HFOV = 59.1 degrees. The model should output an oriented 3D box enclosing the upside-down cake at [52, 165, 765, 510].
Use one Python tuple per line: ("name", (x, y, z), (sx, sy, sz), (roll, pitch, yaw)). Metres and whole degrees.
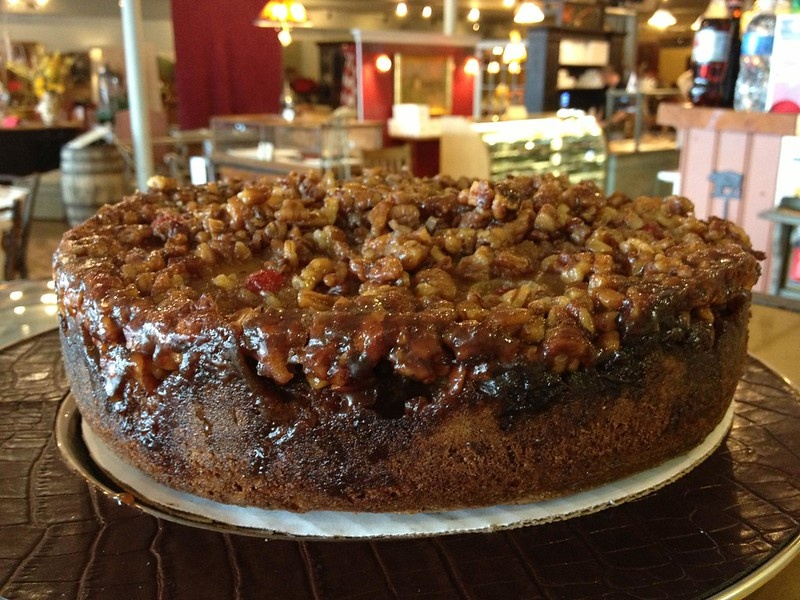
("upside-down cake", (0.024, 0.050, 1.245), (0.890, 0.250, 0.842), (0, 7, 1))
